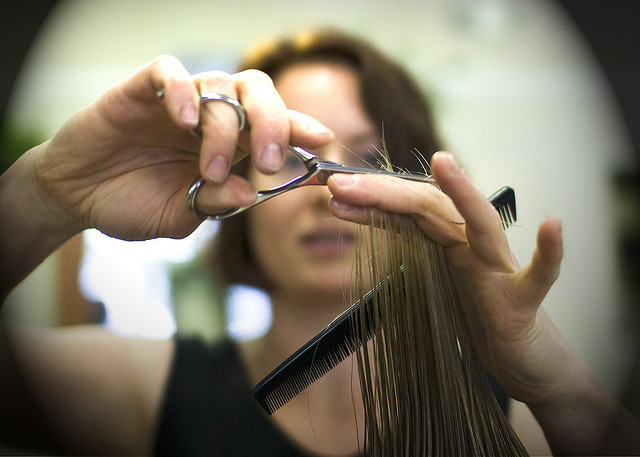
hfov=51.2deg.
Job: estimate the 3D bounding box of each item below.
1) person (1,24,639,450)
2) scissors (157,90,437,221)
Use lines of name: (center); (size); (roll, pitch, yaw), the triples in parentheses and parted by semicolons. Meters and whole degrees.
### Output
person: (-0.149, 0.180, 1.907); (1.757, 0.769, 1.088); (-8, 71, -4)
scissors: (-0.055, -0.153, 1.700); (0.687, 0.119, 0.365); (7, 88, 2)
